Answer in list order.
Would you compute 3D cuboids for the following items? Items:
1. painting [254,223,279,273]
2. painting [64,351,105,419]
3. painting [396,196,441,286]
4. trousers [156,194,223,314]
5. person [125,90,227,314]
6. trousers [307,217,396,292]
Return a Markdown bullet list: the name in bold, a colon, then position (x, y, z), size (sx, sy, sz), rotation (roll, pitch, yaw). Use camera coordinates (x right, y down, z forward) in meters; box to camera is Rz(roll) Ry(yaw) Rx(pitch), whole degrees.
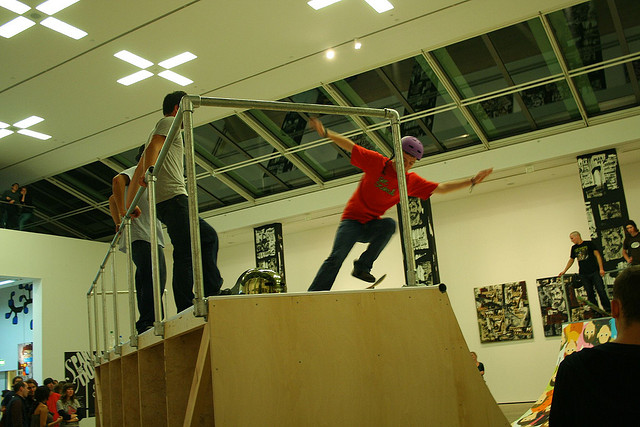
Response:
- **painting**: position (-1.338, 0.862, 13.070), size (0.721, 1.167, 0.375), rotation (-9, -18, 18)
- **painting**: position (-5.551, 3.909, 12.143), size (0.253, 1.491, 0.789), rotation (-13, -20, 31)
- **painting**: position (2.225, 0.550, 11.274), size (0.444, 1.973, 0.611), rotation (-6, -18, 10)
- **trousers**: position (-1.030, 0.341, 4.238), size (0.457, 1.099, 0.373), rotation (-12, 18, -14)
- **person**: position (-1.214, -0.104, 4.358), size (0.846, 1.906, 0.748), rotation (1, -18, -12)
- **trousers**: position (0.286, 0.332, 4.501), size (0.768, 0.629, 0.326), rotation (-2, -17, -4)
